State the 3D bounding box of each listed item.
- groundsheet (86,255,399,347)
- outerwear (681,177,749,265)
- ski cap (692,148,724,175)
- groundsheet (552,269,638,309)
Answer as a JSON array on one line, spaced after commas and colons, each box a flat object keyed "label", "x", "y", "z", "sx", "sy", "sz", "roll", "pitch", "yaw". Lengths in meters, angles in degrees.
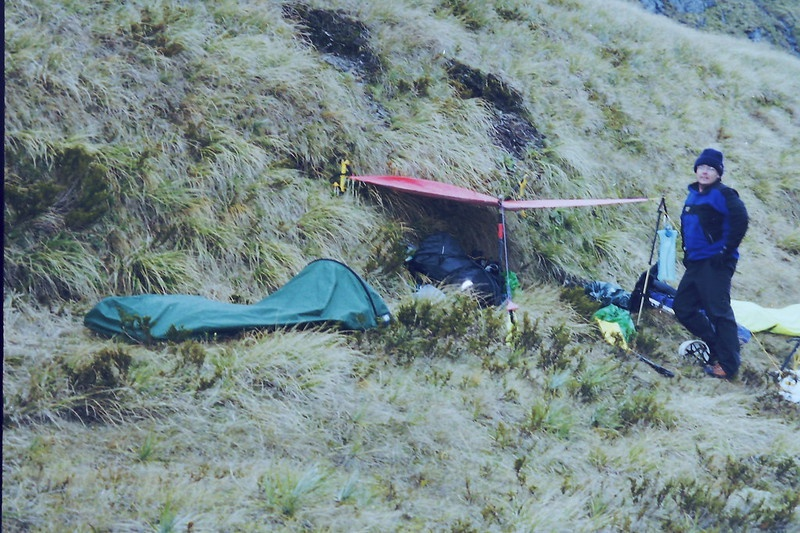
[{"label": "groundsheet", "x": -1.774, "y": 0.451, "z": 12.812, "sx": 3.365, "sy": 0.634, "sz": 1.229, "roll": -3, "pitch": 25, "yaw": -18}, {"label": "outerwear", "x": 3.741, "y": -0.561, "z": 13.740, "sx": 0.640, "sy": 1.086, "sz": 1.090, "roll": 3, "pitch": 2, "yaw": -25}, {"label": "ski cap", "x": 3.711, "y": -1.317, "z": 13.587, "sx": 0.321, "sy": 0.329, "sz": 0.345, "roll": 19, "pitch": -10, "yaw": 13}, {"label": "groundsheet", "x": 2.435, "y": 0.275, "z": 14.572, "sx": 0.965, "sy": 0.260, "sz": 0.296, "roll": 12, "pitch": 41, "yaw": -3}]
